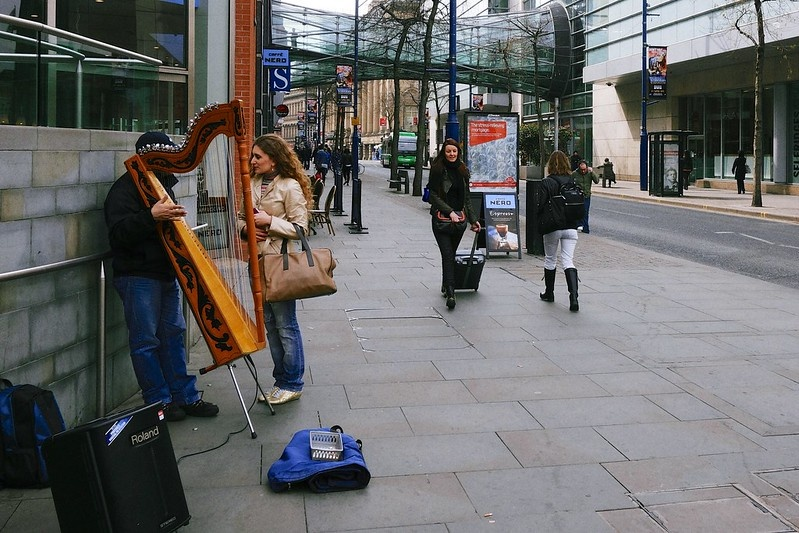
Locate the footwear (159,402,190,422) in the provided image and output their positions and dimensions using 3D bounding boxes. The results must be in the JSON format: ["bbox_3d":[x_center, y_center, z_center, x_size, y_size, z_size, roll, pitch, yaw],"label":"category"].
[{"bbox_3d":[-2.016,1.273,6.408,0.357,0.165,0.146,0,7,11],"label":"footwear"}]

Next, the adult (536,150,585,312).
[{"bbox_3d":[2.345,-0.552,10.639,0.664,2.191,1.242,0,10,-5],"label":"adult"}]

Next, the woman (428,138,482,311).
[{"bbox_3d":[0.741,-0.671,10.747,0.692,2.305,0.933,5,11,25],"label":"woman"}]

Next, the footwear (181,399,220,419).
[{"bbox_3d":[-1.748,1.264,6.472,0.311,0.144,0.132,-1,7,1],"label":"footwear"}]

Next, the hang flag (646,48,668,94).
[{"bbox_3d":[13.092,-9.931,37.256,1.192,2.560,0.759,-1,10,-8],"label":"hang flag"}]

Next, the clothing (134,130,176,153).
[{"bbox_3d":[-2.067,-1.080,6.204,0.298,0.183,0.219,-8,16,-13],"label":"clothing"}]

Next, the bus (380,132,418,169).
[{"bbox_3d":[0.191,-12.057,76.202,2.960,3.580,9.885,0,5,-6],"label":"bus"}]

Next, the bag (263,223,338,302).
[{"bbox_3d":[-0.912,-0.032,6.594,0.645,0.637,0.315,-2,11,-14],"label":"bag"}]
